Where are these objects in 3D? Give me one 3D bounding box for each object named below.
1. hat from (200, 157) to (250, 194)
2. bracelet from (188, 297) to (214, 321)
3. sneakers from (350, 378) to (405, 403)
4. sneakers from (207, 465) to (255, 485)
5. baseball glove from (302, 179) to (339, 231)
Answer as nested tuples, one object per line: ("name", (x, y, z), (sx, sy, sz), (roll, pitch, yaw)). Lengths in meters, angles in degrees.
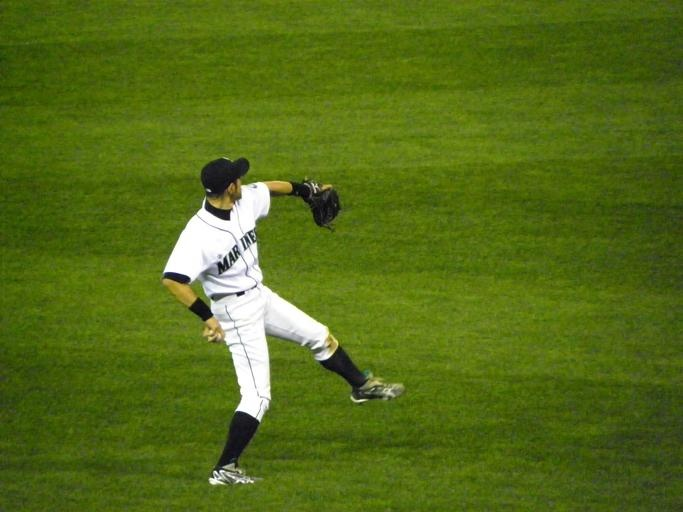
("hat", (-1.069, -0.729, 12.651), (0.207, 0.338, 0.438), (13, 14, 43))
("bracelet", (-1.289, 0.479, 12.553), (0.217, 0.197, 0.174), (2, 10, -5))
("sneakers", (0.363, 1.307, 13.301), (0.485, 0.203, 0.223), (-12, 16, 8))
("sneakers", (-1.030, 2.042, 12.810), (0.543, 0.218, 0.191), (-2, 15, -7))
("baseball glove", (-0.246, -0.501, 13.557), (0.328, 0.315, 0.509), (11, -16, 30))
